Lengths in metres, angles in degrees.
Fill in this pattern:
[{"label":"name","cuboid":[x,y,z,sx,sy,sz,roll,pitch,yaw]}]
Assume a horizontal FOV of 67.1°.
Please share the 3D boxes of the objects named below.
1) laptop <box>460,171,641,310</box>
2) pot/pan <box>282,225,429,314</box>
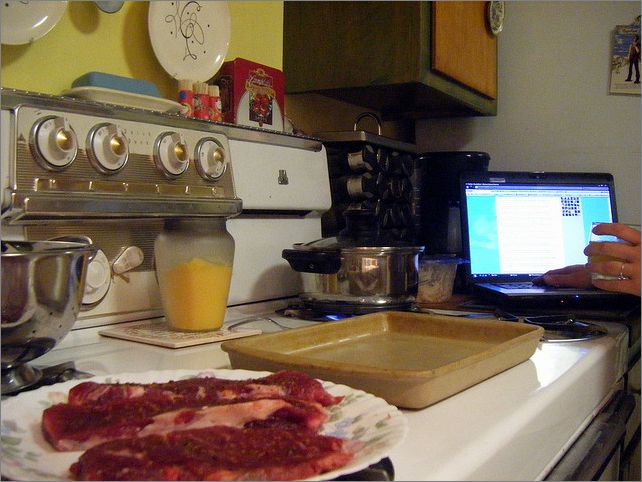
[{"label":"laptop","cuboid":[0.620,0.010,1.497,0.500,0.361,0.368,1,-7,-8]},{"label":"pot/pan","cuboid":[0.058,0.069,1.020,0.181,0.100,0.228,-1,-2,39]}]
